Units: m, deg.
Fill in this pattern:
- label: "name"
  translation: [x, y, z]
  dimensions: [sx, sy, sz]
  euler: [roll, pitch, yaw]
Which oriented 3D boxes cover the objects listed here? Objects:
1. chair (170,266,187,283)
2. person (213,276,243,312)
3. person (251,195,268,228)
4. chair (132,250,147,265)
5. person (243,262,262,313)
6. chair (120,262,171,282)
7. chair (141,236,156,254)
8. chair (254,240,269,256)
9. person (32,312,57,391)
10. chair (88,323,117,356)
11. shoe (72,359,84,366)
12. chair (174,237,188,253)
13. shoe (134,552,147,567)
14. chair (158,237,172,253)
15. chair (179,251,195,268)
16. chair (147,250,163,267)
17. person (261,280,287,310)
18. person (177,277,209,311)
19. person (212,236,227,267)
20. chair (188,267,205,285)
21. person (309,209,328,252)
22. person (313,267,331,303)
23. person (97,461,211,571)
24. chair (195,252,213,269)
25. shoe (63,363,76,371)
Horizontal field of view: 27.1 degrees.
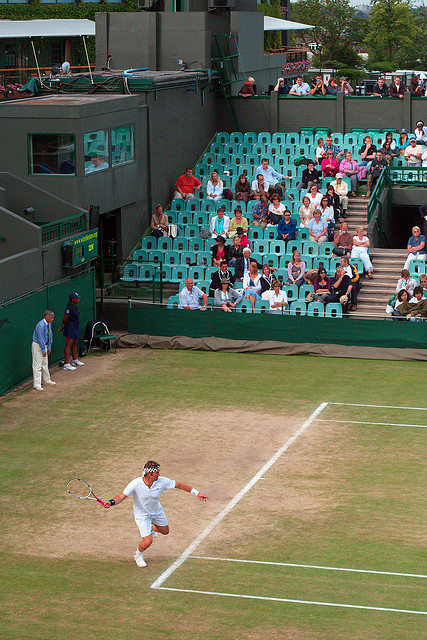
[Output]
- label: "chair"
  translation: [-0.944, -1.302, 24.944]
  dimensions: [0.523, 0.517, 0.449]
  euler: [2, 4, 14]
- label: "person"
  translation: [0.355, -0.658, 22.148]
  dimensions: [0.756, 0.853, 0.626]
  euler: [-1, 10, 5]
- label: "person"
  translation: [1.374, -3.198, 26.157]
  dimensions: [0.492, 0.858, 0.608]
  euler: [-1, 10, 3]
- label: "chair"
  translation: [-2.092, -1.808, 25.477]
  dimensions: [0.486, 0.446, 0.282]
  euler: [0, -5, 6]
- label: "person"
  translation: [1.002, -0.918, 22.327]
  dimensions: [0.485, 1.090, 0.810]
  euler: [-1, 10, 2]
- label: "chair"
  translation: [-1.969, -1.313, 24.797]
  dimensions: [1.394, 0.545, 0.498]
  euler: [5, 6, 5]
- label: "chair"
  translation: [-1.908, -2.222, 26.275]
  dimensions: [0.458, 0.730, 0.520]
  euler: [0, 14, -3]
- label: "chair"
  translation: [1.364, -2.088, 24.982]
  dimensions: [0.400, 0.335, 0.219]
  euler: [8, 14, 43]
- label: "person"
  translation: [-3.512, 0.631, 18.245]
  dimensions: [0.477, 1.709, 0.834]
  euler: [-4, 10, -12]
- label: "chair"
  translation: [-2.742, 0.422, 21.573]
  dimensions: [0.618, 0.759, 0.726]
  euler: [-3, 10, -7]
- label: "shoe"
  translation: [-3.089, 0.965, 20.352]
  dimensions: [0.301, 0.147, 0.208]
  euler: [-7, 11, -29]
- label: "chair"
  translation: [-0.931, -2.194, 25.848]
  dimensions: [0.437, 0.329, 0.415]
  euler: [-3, -5, 6]
- label: "shoe"
  translation: [-0.845, 2.792, 10.350]
  dimensions: [0.076, 0.139, 0.208]
  euler: [-2, 7, -28]
- label: "chair"
  translation: [-1.422, -2.253, 26.286]
  dimensions: [0.528, 0.521, 0.437]
  euler: [2, 11, 4]
- label: "chair"
  translation: [-0.701, -1.717, 25.299]
  dimensions: [0.516, 0.509, 0.428]
  euler: [1, 5, 1]
- label: "chair"
  translation: [-1.639, -1.765, 25.453]
  dimensions: [0.462, 0.523, 0.450]
  euler: [2, 0, 14]
- label: "person"
  translation: [1.567, -0.687, 22.124]
  dimensions: [0.847, 0.982, 0.638]
  euler: [0, -1, 0]
- label: "person"
  translation: [-0.528, -0.673, 22.275]
  dimensions: [0.698, 0.793, 0.791]
  euler: [-2, 10, -4]
- label: "person"
  translation: [0.185, -1.852, 23.970]
  dimensions: [0.389, 0.808, 0.906]
  euler: [-3, 10, -9]
- label: "chair"
  translation: [-0.452, -1.235, 24.373]
  dimensions: [0.402, 0.644, 0.477]
  euler: [0, 13, 1]
- label: "person"
  translation: [2.964, -2.667, 24.932]
  dimensions: [0.497, 0.890, 0.912]
  euler: [0, 10, 6]
- label: "person"
  translation: [2.737, -0.877, 22.140]
  dimensions: [0.421, 0.841, 0.548]
  euler: [-1, 10, 6]
- label: "person"
  translation: [-0.725, 2.242, 10.345]
  dimensions: [1.284, 1.263, 0.592]
  euler: [-8, 17, -25]
- label: "chair"
  translation: [-0.246, -1.704, 24.979]
  dimensions: [0.501, 0.429, 0.462]
  euler: [4, 8, 7]
- label: "shoe"
  translation: [-3.229, 1.057, 19.930]
  dimensions: [0.260, 0.119, 0.111]
  euler: [6, 11, 22]
